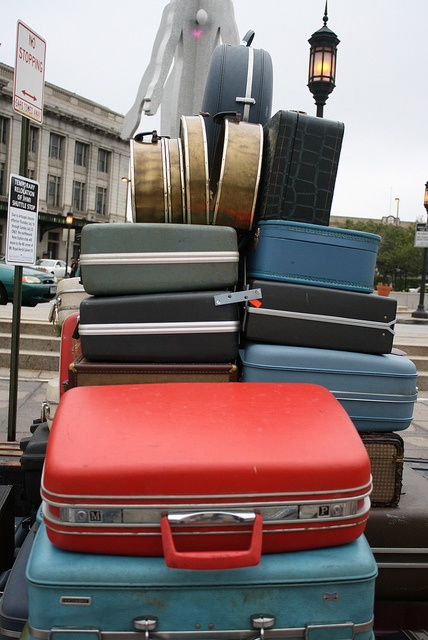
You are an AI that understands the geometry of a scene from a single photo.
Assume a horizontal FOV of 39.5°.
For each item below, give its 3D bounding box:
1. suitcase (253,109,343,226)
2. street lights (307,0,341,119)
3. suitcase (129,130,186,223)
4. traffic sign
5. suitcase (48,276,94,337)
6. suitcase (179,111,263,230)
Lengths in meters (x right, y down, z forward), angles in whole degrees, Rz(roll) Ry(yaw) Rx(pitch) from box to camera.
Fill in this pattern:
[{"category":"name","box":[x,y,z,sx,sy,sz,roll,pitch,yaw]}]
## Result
[{"category":"suitcase","box":[0.229,-0.604,2.441,0.267,0.454,0.460,2,6,-30]},{"category":"street lights","box":[1.393,-3.282,7.796,0.388,1.182,0.578,4,11,9]},{"category":"suitcase","box":[-0.213,-0.527,2.331,0.199,0.340,0.268,-1,-4,3]},{"category":"traffic sign","box":[-1.112,-1.465,3.610,0.180,0.567,0.518,-1,11,-16]},{"category":"suitcase","box":[-0.678,-0.117,3.036,0.155,0.215,0.221,-14,-1,16]},{"category":"suitcase","box":[0.096,-0.654,2.418,0.295,0.457,0.450,4,23,-1]}]
